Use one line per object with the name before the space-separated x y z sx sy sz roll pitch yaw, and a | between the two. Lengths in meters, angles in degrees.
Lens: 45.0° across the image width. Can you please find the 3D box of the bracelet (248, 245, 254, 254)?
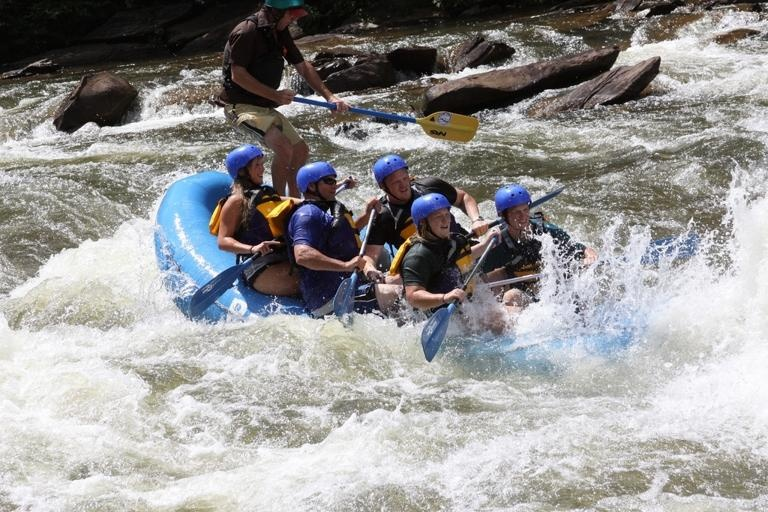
bracelet | -1.457 -0.065 10.129 0.071 0.081 0.030 -3 14 -6

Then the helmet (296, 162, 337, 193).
helmet | -0.775 -0.873 10.267 0.440 0.310 0.321 -4 10 19

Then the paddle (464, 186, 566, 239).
paddle | 1.535 -0.483 10.822 1.513 0.157 0.083 -30 2 -21

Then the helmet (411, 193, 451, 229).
helmet | 0.457 -0.507 9.749 0.372 0.276 0.293 -30 -2 20

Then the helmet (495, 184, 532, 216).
helmet | 1.341 -0.614 10.075 0.304 0.281 0.373 -23 19 -9

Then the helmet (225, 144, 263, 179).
helmet | -1.598 -1.091 10.591 0.453 0.326 0.320 -17 6 11

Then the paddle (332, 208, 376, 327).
paddle | -0.320 0.219 10.096 0.297 0.803 0.827 5 27 27

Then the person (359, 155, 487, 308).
person | 0.334 -0.512 10.429 1.185 0.681 1.415 -27 30 -28

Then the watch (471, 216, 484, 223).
watch | 1.009 -0.394 10.214 0.091 0.051 0.089 8 -35 -35
